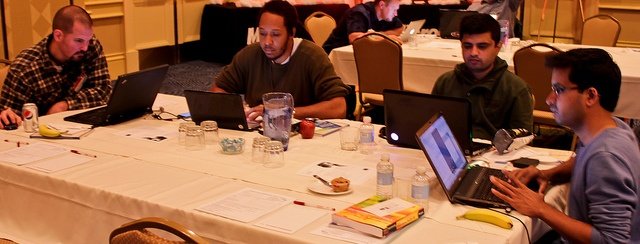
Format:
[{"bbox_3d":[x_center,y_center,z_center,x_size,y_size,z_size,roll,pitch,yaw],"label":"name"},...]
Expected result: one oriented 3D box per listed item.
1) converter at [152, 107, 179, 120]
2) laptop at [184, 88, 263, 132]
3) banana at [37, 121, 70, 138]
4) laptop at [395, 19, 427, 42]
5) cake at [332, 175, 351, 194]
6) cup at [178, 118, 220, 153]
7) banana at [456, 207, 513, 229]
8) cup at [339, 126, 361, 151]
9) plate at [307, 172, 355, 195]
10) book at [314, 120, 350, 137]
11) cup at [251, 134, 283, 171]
[{"bbox_3d":[-1.986,-0.076,4.627,0.265,0.056,0.234,8,11,28],"label":"converter"},{"bbox_3d":[-1.161,-0.166,4.440,0.863,0.379,0.575,6,18,21],"label":"laptop"},{"bbox_3d":[-3.025,0.120,4.176,0.472,0.098,0.155,13,37,20],"label":"banana"},{"bbox_3d":[1.793,-1.704,6.895,0.784,0.399,0.490,-12,19,-33],"label":"laptop"},{"bbox_3d":[0.210,0.616,3.595,0.178,0.055,0.145,3,29,8],"label":"cake"},{"bbox_3d":[-1.379,0.154,4.169,0.460,0.195,0.380,1,7,6],"label":"cup"},{"bbox_3d":[1.382,0.874,3.387,0.758,0.135,0.133,3,9,10],"label":"banana"},{"bbox_3d":[0.323,0.194,4.071,0.318,0.226,0.247,-2,11,-5],"label":"cup"},{"bbox_3d":[0.093,0.601,3.591,0.292,0.074,0.239,6,13,24],"label":"plate"},{"bbox_3d":[0.100,0.072,4.403,0.280,0.030,0.250,17,26,36],"label":"book"},{"bbox_3d":[-0.551,0.330,3.866,0.465,0.230,0.252,11,21,33],"label":"cup"}]
